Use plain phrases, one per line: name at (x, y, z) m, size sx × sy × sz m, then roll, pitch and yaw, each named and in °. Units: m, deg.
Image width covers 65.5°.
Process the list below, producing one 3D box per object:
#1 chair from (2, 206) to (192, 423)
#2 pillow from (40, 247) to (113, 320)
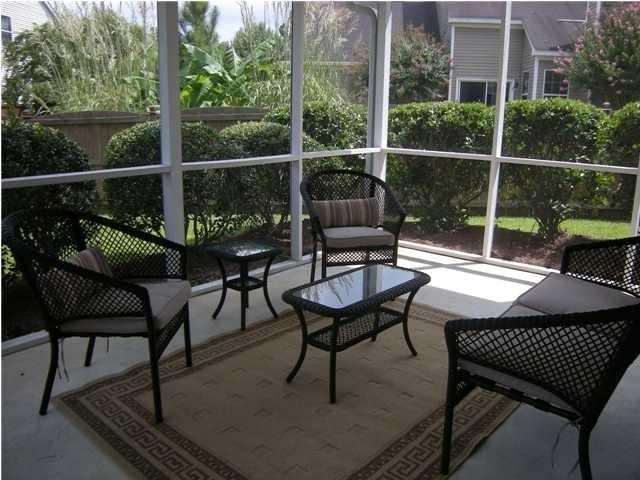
chair at (-1.539, 0.235, 3.502) m, size 1.231 × 1.504 × 1.395 m, roll 2°, pitch 15°, yaw -3°
pillow at (-1.386, 0.234, 3.001) m, size 0.348 × 0.332 × 0.468 m, roll -1°, pitch 12°, yaw 0°
